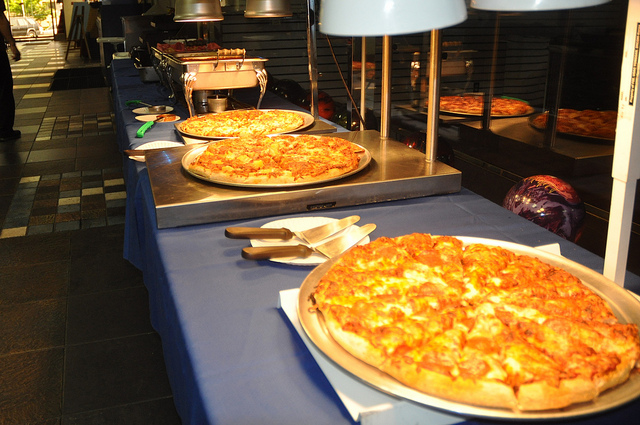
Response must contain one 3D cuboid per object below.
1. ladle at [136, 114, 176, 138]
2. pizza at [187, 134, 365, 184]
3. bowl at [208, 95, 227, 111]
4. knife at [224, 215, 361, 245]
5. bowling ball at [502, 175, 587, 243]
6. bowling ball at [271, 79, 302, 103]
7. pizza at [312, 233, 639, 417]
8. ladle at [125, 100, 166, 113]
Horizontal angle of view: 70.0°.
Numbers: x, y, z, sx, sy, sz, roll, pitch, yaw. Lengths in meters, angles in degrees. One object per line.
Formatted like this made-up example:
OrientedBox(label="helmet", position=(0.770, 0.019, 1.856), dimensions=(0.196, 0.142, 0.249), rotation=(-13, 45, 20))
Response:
OrientedBox(label="ladle", position=(-0.836, -0.438, 2.331), dimensions=(0.085, 0.032, 0.226), rotation=(10, 28, 22))
OrientedBox(label="pizza", position=(-0.149, -0.162, 1.473), dimensions=(0.316, 0.031, 0.301), rotation=(-13, 22, -26))
OrientedBox(label="bowl", position=(-0.558, -0.594, 2.539), dimensions=(0.110, 0.074, 0.098), rotation=(-8, 37, -18))
OrientedBox(label="knife", position=(-0.063, 0.021, 1.125), dimensions=(0.336, 0.026, 0.105), rotation=(-2, 19, -20))
OrientedBox(label="bowling ball", position=(0.769, 0.008, 1.605), dimensions=(0.268, 0.284, 0.257), rotation=(-9, 25, 4))
OrientedBox(label="bowling ball", position=(-0.286, -1.059, 3.937), dimensions=(0.259, 0.058, 0.264), rotation=(6, 32, -4))
OrientedBox(label="pizza", position=(0.249, 0.187, 0.784), dimensions=(0.333, 0.033, 0.299), rotation=(18, 28, 35))
OrientedBox(label="ladle", position=(-1.037, -0.627, 2.718), dimensions=(0.206, 0.033, 0.142), rotation=(8, 20, 1))
